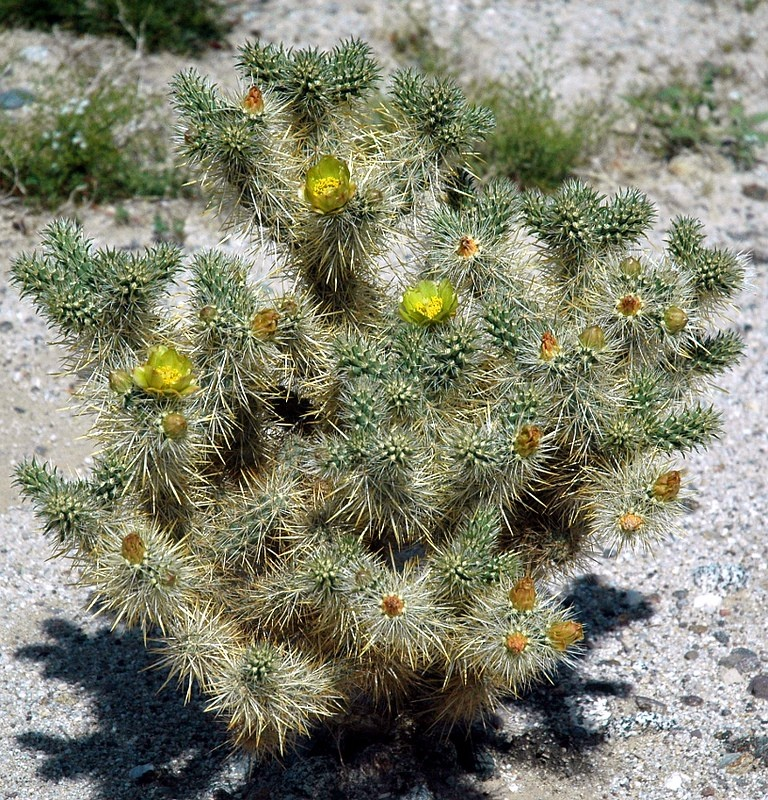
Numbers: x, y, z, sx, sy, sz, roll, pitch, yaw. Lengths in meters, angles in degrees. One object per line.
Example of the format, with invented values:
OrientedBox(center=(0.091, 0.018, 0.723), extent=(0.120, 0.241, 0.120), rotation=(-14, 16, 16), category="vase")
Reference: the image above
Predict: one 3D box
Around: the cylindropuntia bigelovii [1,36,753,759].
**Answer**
OrientedBox(center=(-0.127, -0.030, 6.162), extent=(2.148, 3.769, 1.715), rotation=(-3, 16, -15), category="cylindropuntia bigelovii")

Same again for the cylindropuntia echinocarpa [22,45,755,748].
OrientedBox(center=(-0.124, -0.120, 6.834), extent=(3.615, 3.279, 2.889), rotation=(0, 15, 8), category="cylindropuntia echinocarpa")
